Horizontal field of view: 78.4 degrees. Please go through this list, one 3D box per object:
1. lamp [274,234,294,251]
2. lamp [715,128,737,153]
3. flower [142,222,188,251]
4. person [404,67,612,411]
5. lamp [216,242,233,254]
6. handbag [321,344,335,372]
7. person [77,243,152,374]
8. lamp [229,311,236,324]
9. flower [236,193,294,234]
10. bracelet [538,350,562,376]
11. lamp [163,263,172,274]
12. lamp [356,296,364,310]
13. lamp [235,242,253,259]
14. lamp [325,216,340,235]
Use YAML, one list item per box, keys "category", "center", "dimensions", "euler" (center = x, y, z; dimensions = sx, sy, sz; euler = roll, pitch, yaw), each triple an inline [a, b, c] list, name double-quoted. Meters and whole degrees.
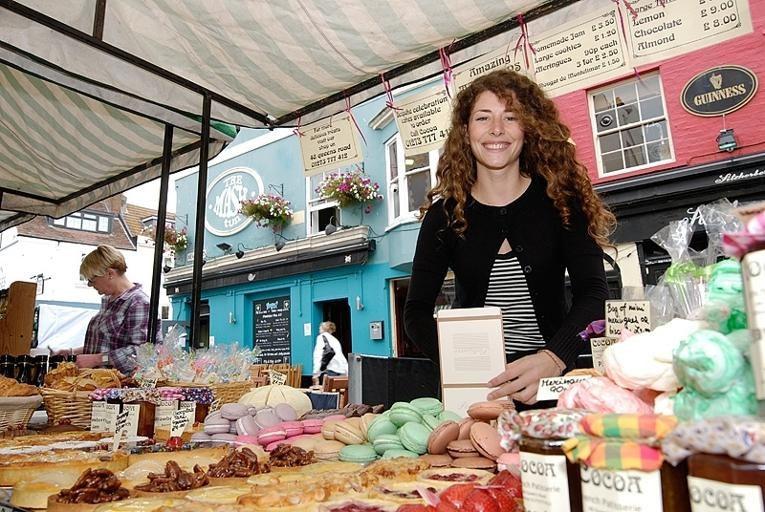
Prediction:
- category: "lamp"
  center: [-2.783, -0.374, 12.912]
  dimensions: [0.396, 0.554, 0.594]
  euler: [1, -11, -11]
- category: "lamp"
  center: [4.966, -1.705, 6.833]
  dimensions: [0.230, 0.359, 0.173]
  euler: [-10, -14, 36]
- category: "flower"
  center: [-6.076, -0.601, 13.268]
  dimensions: [1.071, 0.524, 1.010]
  euler: [10, -8, -1]
- category: "person"
  center: [0.592, -0.143, 2.371]
  dimensions: [0.936, 1.736, 0.834]
  euler: [-8, -13, 31]
- category: "lamp"
  center: [-4.731, -0.239, 14.062]
  dimensions: [0.365, 0.305, 0.442]
  euler: [0, -4, -40]
- category: "handbag"
  center: [-1.169, 2.105, 9.847]
  dimensions: [0.182, 0.465, 0.430]
  euler: [7, -20, -16]
- category: "person"
  center: [-2.361, 0.408, 4.146]
  dimensions: [0.556, 1.211, 1.298]
  euler: [6, -13, -33]
- category: "lamp"
  center: [-4.400, 1.813, 13.710]
  dimensions: [0.253, 0.334, 0.057]
  euler: [-9, -14, 33]
- category: "flower"
  center: [-3.066, -1.251, 13.310]
  dimensions: [1.457, 0.958, 1.443]
  euler: [-15, 2, -3]
- category: "bracelet"
  center: [0.668, 0.414, 1.851]
  dimensions: [0.027, 0.099, 0.092]
  euler: [-44, 14, 19]
- category: "lamp"
  center: [-7.132, 0.400, 15.553]
  dimensions: [0.276, 0.218, 0.314]
  euler: [-10, -17, 43]
- category: "lamp"
  center: [-0.564, 1.140, 11.222]
  dimensions: [0.174, 0.348, 0.076]
  euler: [-4, -12, 10]
- category: "lamp"
  center: [-4.119, -0.152, 13.735]
  dimensions: [0.342, 0.518, 0.629]
  euler: [-5, -4, 31]
- category: "lamp"
  center: [-1.290, -0.753, 11.884]
  dimensions: [0.339, 0.494, 0.232]
  euler: [16, -6, 13]
